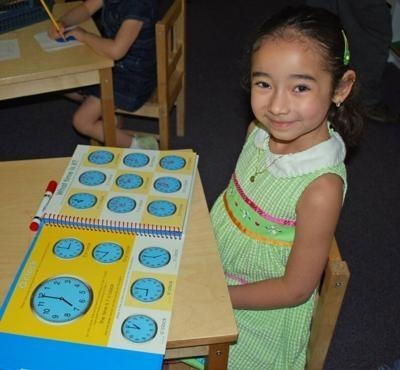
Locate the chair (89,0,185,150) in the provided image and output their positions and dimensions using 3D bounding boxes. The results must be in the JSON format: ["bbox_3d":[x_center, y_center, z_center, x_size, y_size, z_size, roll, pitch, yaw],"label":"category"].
[{"bbox_3d":[-0.349,-0.611,2.102,0.394,0.887,0.561,8,52,4],"label":"chair"}]

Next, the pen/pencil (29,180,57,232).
[{"bbox_3d":[-0.417,0.054,1.038,0.025,0.022,0.142,-6,43,31],"label":"pen/pencil"}]

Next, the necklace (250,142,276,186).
[{"bbox_3d":[0.174,-0.065,1.082,0.025,0.090,0.070,18,12,-24],"label":"necklace"}]
